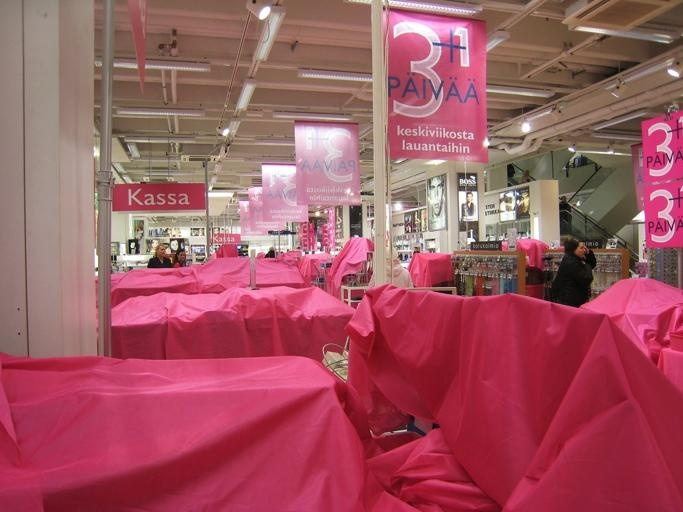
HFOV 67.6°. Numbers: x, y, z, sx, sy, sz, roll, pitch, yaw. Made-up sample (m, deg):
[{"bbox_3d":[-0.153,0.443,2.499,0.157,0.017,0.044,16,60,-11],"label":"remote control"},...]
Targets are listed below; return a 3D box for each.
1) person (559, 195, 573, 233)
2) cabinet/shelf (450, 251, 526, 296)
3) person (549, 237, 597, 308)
[{"bbox_3d":[7.227,-1.264,16.493,0.363,1.131,1.080,0,4,24],"label":"person"},{"bbox_3d":[1.810,0.222,6.282,0.226,0.586,1.351,-2,4,-18],"label":"cabinet/shelf"},{"bbox_3d":[2.701,0.185,6.027,0.427,0.752,1.326,0,4,23],"label":"person"}]
